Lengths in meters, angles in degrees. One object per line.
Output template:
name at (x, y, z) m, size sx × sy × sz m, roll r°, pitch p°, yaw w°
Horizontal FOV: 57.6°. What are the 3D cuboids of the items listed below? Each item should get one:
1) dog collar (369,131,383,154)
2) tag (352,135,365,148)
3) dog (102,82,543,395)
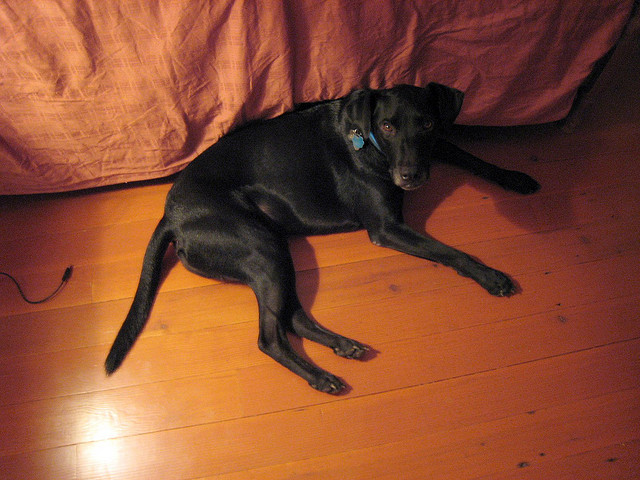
dog collar at (0.281, -0.519, 3.078) m, size 0.021 × 0.084 × 0.085 m, roll -43°, pitch 100°, yaw 7°
tag at (0.200, -0.522, 3.089) m, size 0.040 × 0.057 × 0.068 m, roll -15°, pitch 54°, yaw -15°
dog at (0.075, -0.118, 2.947) m, size 1.703 × 0.857 × 1.499 m, roll 18°, pitch 52°, yaw 11°
